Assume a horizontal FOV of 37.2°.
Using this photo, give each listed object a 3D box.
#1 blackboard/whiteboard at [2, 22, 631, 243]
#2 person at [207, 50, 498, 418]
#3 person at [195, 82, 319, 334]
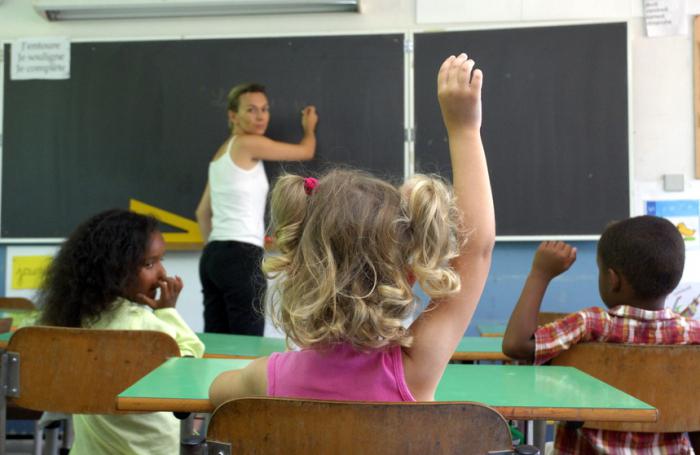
[{"bbox_3d":[-0.291,-0.694,6.187,3.661,1.252,0.109,3,8,6],"label":"blackboard/whiteboard"},{"bbox_3d":[0.025,0.081,4.126,1.031,1.252,0.924,-2,-24,-3],"label":"person"},{"bbox_3d":[-0.522,-0.126,5.881,0.691,1.509,0.561,0,0,3],"label":"person"}]
